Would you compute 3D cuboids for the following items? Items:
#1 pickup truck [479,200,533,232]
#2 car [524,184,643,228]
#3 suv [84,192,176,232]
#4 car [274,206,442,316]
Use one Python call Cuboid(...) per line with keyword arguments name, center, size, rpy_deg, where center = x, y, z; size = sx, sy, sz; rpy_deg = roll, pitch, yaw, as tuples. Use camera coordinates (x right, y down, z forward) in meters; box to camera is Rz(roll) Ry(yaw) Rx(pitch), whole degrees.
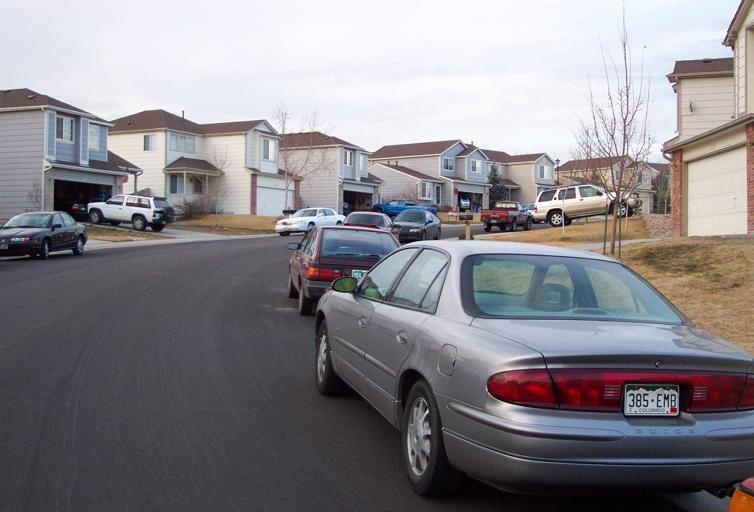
Cuboid(name="pickup truck", center=(9.540, -2.697, 40.850), size=(1.958, 1.415, 3.550), rpy_deg=(2, 6, 27))
Cuboid(name="car", center=(12.293, -3.197, 36.993), size=(1.059, 2.636, 4.732), rpy_deg=(-2, 7, -40))
Cuboid(name="suv", center=(-15.295, -2.570, 36.540), size=(5.042, 1.854, 2.430), rpy_deg=(9, 8, 26))
Cuboid(name="car", center=(-0.920, -0.001, 13.885), size=(2.375, 1.719, 5.049), rpy_deg=(-1, 6, -4))
